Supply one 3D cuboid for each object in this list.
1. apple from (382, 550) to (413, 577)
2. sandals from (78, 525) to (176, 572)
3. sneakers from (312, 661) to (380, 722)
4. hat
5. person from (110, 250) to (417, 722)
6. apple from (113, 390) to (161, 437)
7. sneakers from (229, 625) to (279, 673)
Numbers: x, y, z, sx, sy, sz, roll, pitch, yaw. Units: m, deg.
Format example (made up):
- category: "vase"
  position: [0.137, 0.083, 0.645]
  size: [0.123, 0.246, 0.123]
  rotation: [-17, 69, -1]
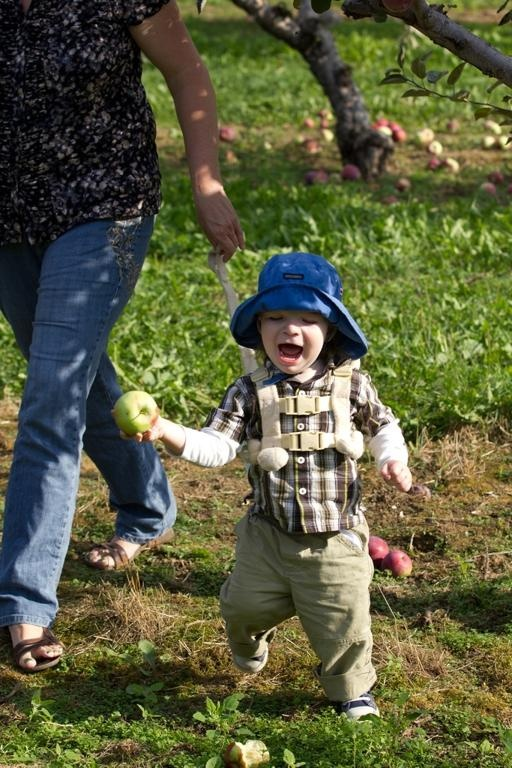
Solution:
- category: "apple"
  position: [0.494, 0.628, 3.117]
  size: [0.097, 0.097, 0.093]
  rotation: [21, -5, 4]
- category: "sandals"
  position: [-0.461, 0.580, 3.141]
  size: [0.125, 0.060, 0.344]
  rotation: [3, 9, 44]
- category: "sneakers"
  position: [0.233, 0.772, 2.135]
  size: [0.078, 0.076, 0.205]
  rotation: [-26, -7, 0]
- category: "hat"
  position: [0.109, -0.231, 2.390]
  size: [0.336, 0.194, 0.339]
  rotation: [-1, -17, 15]
- category: "person"
  position: [0.093, 0.252, 2.327]
  size: [0.613, 1.170, 0.625]
  rotation: [4, 16, 11]
- category: "apple"
  position: [-0.283, 0.065, 2.047]
  size: [0.096, 0.110, 0.131]
  rotation: [3, 14, 10]
- category: "sneakers"
  position: [0.016, 0.731, 2.448]
  size: [0.076, 0.071, 0.191]
  rotation: [-14, 16, 31]
